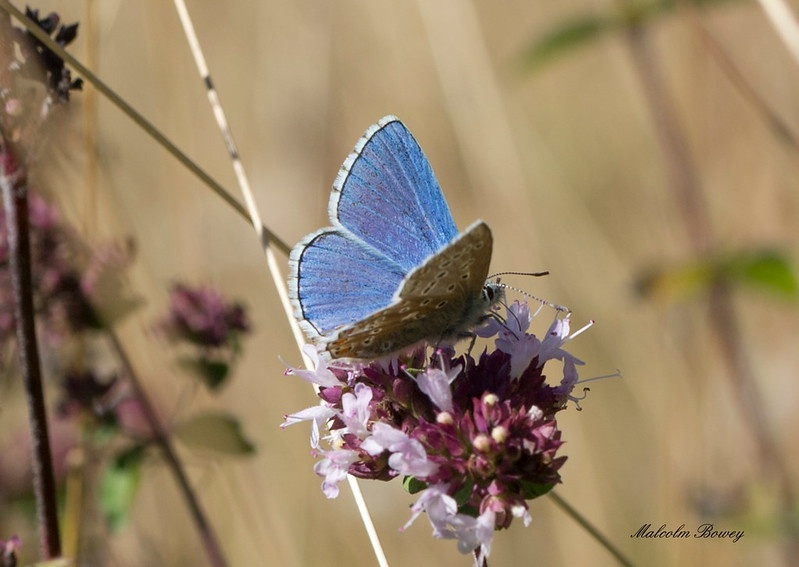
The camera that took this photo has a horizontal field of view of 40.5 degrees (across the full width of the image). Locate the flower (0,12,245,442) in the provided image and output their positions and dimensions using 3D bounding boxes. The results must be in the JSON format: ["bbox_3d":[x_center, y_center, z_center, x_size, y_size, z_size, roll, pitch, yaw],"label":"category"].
[{"bbox_3d":[-0.804,0.013,3.742,0.905,0.859,0.681,32,71,19],"label":"flower"}]
